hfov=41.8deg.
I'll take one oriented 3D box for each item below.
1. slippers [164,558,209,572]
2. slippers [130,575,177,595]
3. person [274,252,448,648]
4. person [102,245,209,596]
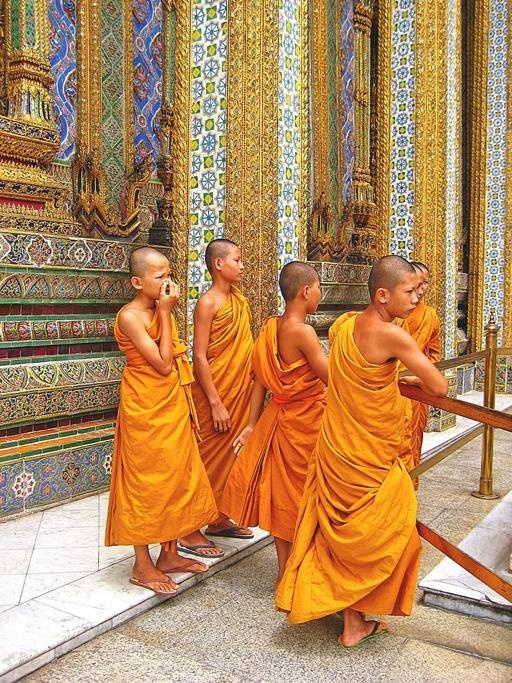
[{"bbox_3d":[-0.282,0.939,2.804,0.162,0.038,0.064,0,1,-5],"label":"slippers"},{"bbox_3d":[-0.399,0.941,2.627,0.131,0.033,0.072,4,0,31],"label":"slippers"},{"bbox_3d":[0.374,0.381,2.326,0.507,1.365,0.332,5,3,14],"label":"person"},{"bbox_3d":[-0.345,0.234,2.611,0.428,1.172,0.249,3,3,-12],"label":"person"}]
